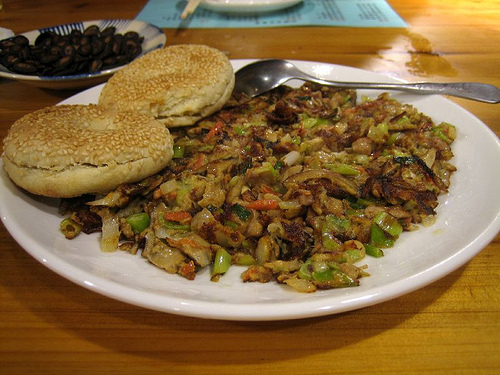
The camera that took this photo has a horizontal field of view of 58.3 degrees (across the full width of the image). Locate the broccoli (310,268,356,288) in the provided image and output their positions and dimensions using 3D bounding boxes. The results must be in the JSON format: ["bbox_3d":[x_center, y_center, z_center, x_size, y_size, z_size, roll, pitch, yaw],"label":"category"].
[{"bbox_3d":[0.449,0.502,2.470,0.235,0.071,0.112,4,57,1],"label":"broccoli"}]

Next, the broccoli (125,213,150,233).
[{"bbox_3d":[-0.689,0.211,2.750,0.110,0.061,0.111,13,29,25],"label":"broccoli"}]

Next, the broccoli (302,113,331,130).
[{"bbox_3d":[0.486,-0.532,3.429,0.144,0.041,0.145,25,32,25],"label":"broccoli"}]

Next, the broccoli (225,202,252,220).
[{"bbox_3d":[-0.074,0.141,2.802,0.137,0.038,0.083,26,60,32],"label":"broccoli"}]

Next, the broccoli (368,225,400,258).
[{"bbox_3d":[0.794,0.325,2.761,0.069,0.194,0.224,17,11,21],"label":"broccoli"}]
